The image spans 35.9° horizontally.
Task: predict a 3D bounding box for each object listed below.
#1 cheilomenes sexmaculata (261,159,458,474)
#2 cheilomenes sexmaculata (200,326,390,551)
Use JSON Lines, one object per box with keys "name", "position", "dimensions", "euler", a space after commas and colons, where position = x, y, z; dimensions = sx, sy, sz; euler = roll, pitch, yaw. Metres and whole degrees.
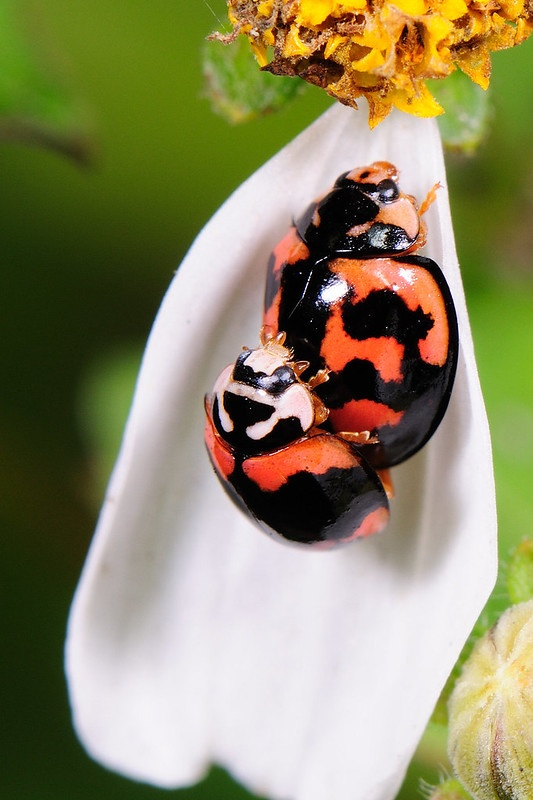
{"name": "cheilomenes sexmaculata", "position": [0.049, -0.039, 0.401], "dimensions": [0.102, 0.133, 0.048], "euler": [14, 11, 37]}
{"name": "cheilomenes sexmaculata", "position": [0.028, 0.023, 0.434], "dimensions": [0.097, 0.103, 0.033], "euler": [2, 26, 40]}
